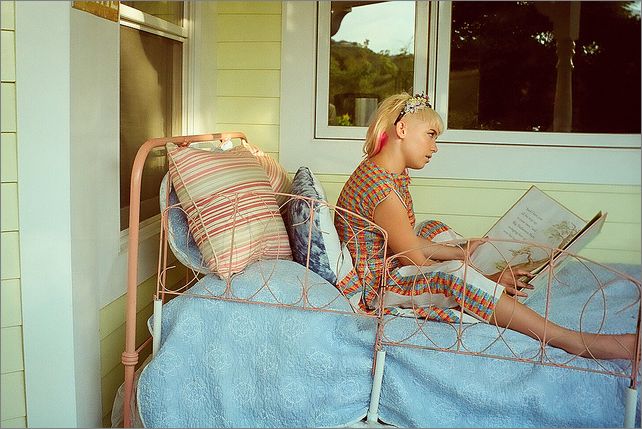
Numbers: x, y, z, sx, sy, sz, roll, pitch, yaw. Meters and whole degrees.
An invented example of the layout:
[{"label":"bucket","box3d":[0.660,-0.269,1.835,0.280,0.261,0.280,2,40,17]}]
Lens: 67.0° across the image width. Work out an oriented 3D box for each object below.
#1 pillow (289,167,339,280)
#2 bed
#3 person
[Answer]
[{"label":"pillow","box3d":[-0.033,0.048,2.047,0.151,0.330,0.457,-1,20,-8]},{"label":"bed","box3d":[0.020,0.143,2.198,1.424,1.061,1.366,9,3,6]},{"label":"person","box3d":[0.593,-0.012,2.135,1.088,0.888,0.864,0,8,12]}]
